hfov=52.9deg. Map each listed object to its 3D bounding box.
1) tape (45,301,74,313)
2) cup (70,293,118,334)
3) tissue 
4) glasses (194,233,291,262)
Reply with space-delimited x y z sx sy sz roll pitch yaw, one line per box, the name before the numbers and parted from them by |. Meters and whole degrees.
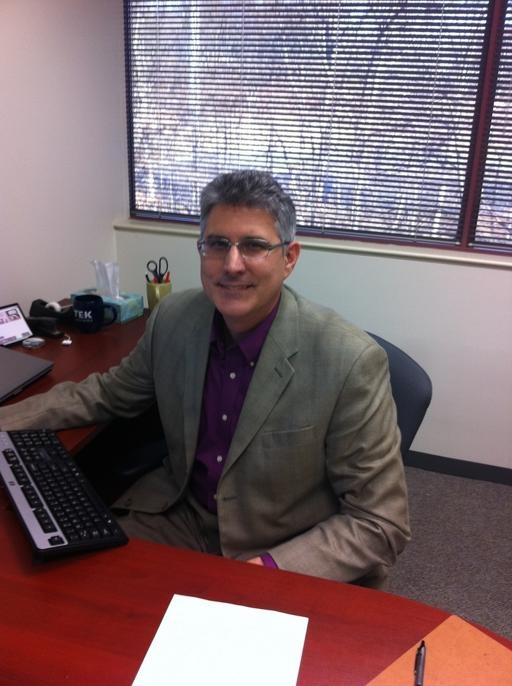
tape | -0.759 -0.142 2.029 0.069 0.040 0.126 -2 3 -12
cup | -0.613 -0.122 1.936 0.180 0.135 0.113 10 25 8
tissue  | -0.625 -0.216 2.163 0.272 0.268 0.150 16 27 31
glasses | -0.023 -0.210 1.133 0.203 0.065 0.119 2 23 -6
